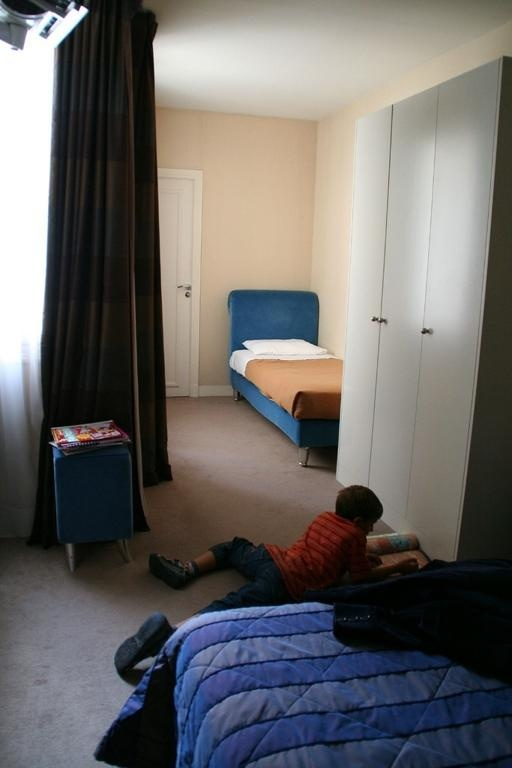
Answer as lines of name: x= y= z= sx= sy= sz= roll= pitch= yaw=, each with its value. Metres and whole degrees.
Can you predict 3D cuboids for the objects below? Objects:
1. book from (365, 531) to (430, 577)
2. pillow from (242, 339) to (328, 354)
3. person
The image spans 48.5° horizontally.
book: x=0.561 y=0.646 z=2.280 sx=0.182 sy=0.075 sz=0.204 roll=-6 pitch=18 yaw=-15
pillow: x=0.247 y=-0.307 z=4.915 sx=0.716 sy=0.097 sz=0.379 roll=1 pitch=10 yaw=-2
person: x=0.048 y=0.529 z=1.923 sx=1.061 sy=0.451 sz=0.441 roll=-15 pitch=12 yaw=-21
